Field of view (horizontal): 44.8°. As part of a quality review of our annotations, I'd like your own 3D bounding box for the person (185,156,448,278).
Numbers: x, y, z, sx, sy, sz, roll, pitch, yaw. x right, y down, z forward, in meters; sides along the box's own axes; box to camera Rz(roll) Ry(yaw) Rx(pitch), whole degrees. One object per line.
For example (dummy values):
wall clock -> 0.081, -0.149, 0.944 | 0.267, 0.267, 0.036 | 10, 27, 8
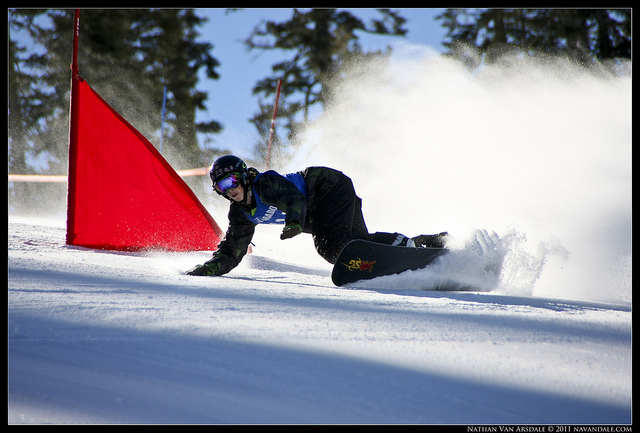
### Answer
person -> -0.180, -0.015, 8.549 | 2.048, 1.462, 0.853 | 1, 37, -36
